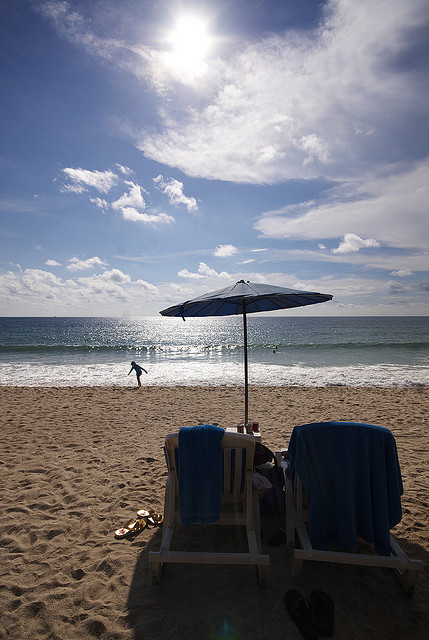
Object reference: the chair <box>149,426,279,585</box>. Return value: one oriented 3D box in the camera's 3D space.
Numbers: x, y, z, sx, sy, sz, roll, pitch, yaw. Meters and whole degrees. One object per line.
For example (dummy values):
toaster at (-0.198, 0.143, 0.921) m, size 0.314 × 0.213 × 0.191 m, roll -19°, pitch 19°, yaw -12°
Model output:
chair at (-0.047, 1.435, 3.778) m, size 1.010 × 1.328 × 0.966 m, roll -2°, pitch 12°, yaw -5°

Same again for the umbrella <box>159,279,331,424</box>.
umbrella at (0.377, 0.458, 5.621) m, size 1.898 × 1.980 × 1.907 m, roll -2°, pitch 6°, yaw 18°

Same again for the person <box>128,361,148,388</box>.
person at (-2.853, 2.061, 17.325) m, size 0.657 × 1.239 × 0.564 m, roll -5°, pitch -4°, yaw 9°

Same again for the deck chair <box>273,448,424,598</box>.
deck chair at (1.017, 1.654, 3.833) m, size 0.868 × 0.947 × 1.042 m, roll 7°, pitch 9°, yaw 6°
